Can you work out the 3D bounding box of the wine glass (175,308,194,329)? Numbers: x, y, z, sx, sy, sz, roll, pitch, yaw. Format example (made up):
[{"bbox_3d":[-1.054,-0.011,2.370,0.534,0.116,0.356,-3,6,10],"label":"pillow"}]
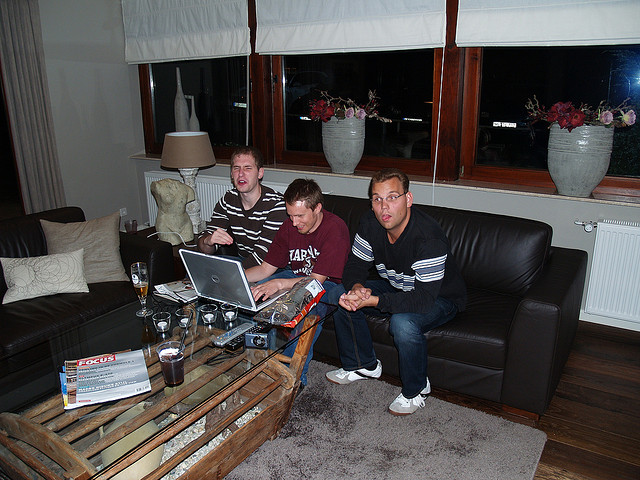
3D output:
[{"bbox_3d":[-0.725,0.428,2.388,0.089,0.088,0.103,1,2,2],"label":"wine glass"}]

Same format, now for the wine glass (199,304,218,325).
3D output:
[{"bbox_3d":[-0.593,0.404,2.384,0.096,0.066,0.113,-8,20,-18],"label":"wine glass"}]

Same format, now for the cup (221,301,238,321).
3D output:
[{"bbox_3d":[-0.490,0.391,2.409,0.085,0.079,0.096,-1,10,-2],"label":"cup"}]

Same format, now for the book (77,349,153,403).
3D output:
[{"bbox_3d":[-0.901,0.609,1.943,0.197,0.025,0.218,-4,23,-22],"label":"book"}]

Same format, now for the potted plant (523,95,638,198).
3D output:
[{"bbox_3d":[1.900,-0.687,3.470,0.733,0.790,0.688,-1,7,6],"label":"potted plant"}]

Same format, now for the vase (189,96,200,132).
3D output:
[{"bbox_3d":[-1.390,-1.414,4.888,0.105,0.362,0.124,3,19,16],"label":"vase"}]

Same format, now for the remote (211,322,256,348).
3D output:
[{"bbox_3d":[-0.445,0.481,2.217,0.082,0.026,0.202,14,25,36],"label":"remote"}]

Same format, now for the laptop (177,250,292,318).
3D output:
[{"bbox_3d":[-0.474,0.169,2.533,0.471,0.341,0.520,16,27,38],"label":"laptop"}]

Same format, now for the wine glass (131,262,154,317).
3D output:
[{"bbox_3d":[-1.018,0.252,2.503,0.094,0.301,0.266,-10,20,-23],"label":"wine glass"}]

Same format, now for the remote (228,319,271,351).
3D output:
[{"bbox_3d":[-0.350,0.475,2.232,0.077,0.033,0.306,12,25,27],"label":"remote"}]

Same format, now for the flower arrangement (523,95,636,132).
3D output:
[{"bbox_3d":[1.945,-0.946,3.260,0.743,0.266,0.416,4,19,17],"label":"flower arrangement"}]

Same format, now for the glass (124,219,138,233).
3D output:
[{"bbox_3d":[-1.650,-0.111,3.876,0.085,0.137,0.135,3,6,19],"label":"glass"}]

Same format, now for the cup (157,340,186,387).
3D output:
[{"bbox_3d":[-0.661,0.571,1.988,0.126,0.168,0.117,-2,8,0],"label":"cup"}]

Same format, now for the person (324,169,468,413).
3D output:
[{"bbox_3d":[0.436,0.277,2.587,0.815,1.342,0.625,4,19,19],"label":"person"}]

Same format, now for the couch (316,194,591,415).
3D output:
[{"bbox_3d":[0.705,0.363,3.209,1.993,1.108,0.976,8,20,37],"label":"couch"}]

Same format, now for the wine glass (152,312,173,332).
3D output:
[{"bbox_3d":[-0.832,0.437,2.331,0.080,0.071,0.090,1,5,-2],"label":"wine glass"}]

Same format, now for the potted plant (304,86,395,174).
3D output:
[{"bbox_3d":[0.234,-1.027,4.076,0.851,0.784,0.353,8,21,28],"label":"potted plant"}]

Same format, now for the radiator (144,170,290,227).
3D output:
[{"bbox_3d":[-1.179,-0.525,5.084,2.081,0.688,0.716,13,21,33],"label":"radiator"}]
